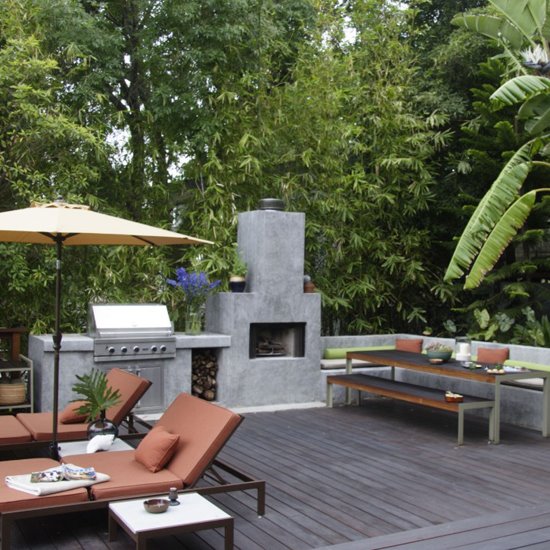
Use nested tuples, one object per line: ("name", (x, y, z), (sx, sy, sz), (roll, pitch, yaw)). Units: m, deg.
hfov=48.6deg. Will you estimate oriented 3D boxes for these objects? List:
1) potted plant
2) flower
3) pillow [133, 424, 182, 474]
("potted plant", (-1.201, 0.896, 4.186), (0.363, 0.444, 0.313), (-11, 5, -11))
("flower", (-0.855, 0.255, 6.925), (0.738, 0.732, 0.732), (-10, -2, 17))
("pillow", (-0.698, 1.042, 3.644), (0.213, 0.182, 0.370), (-42, 19, -33))
